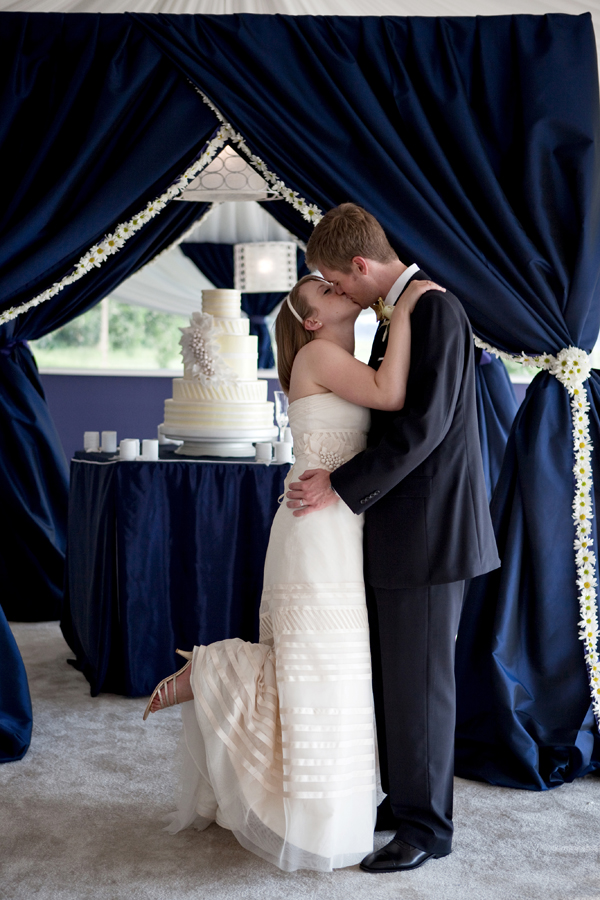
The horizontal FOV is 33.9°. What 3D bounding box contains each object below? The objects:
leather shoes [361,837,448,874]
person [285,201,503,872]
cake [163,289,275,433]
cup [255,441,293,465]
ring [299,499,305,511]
[{"bbox_3d":[0.254,0.984,2.414,0.204,0.080,0.075,2,-11,-6],"label":"leather shoes"},{"bbox_3d":[0.235,0.213,2.467,0.468,1.654,0.331,3,5,23],"label":"person"},{"bbox_3d":[-0.306,-0.335,3.882,0.572,0.579,0.558,0,3,-1],"label":"cake"},{"bbox_3d":[-0.108,0.009,3.847,0.085,0.067,0.121,3,6,34],"label":"cup"},{"bbox_3d":[0.003,0.136,2.429,0.008,0.020,0.015,8,-3,-2],"label":"ring"}]
